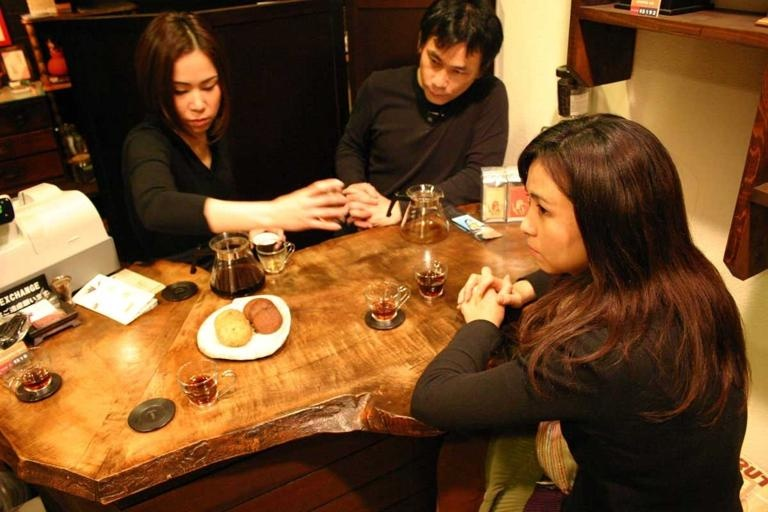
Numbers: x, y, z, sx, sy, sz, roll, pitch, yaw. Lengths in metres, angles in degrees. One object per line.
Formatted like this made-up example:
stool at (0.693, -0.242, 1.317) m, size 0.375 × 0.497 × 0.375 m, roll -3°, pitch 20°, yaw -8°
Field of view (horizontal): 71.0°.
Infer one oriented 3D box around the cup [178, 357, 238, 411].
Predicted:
cup at (-0.627, 0.446, 1.926) m, size 0.195 × 0.092 × 0.160 m, roll -15°, pitch 36°, yaw -20°

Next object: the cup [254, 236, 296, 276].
cup at (-0.484, -0.002, 2.465) m, size 0.182 × 0.132 × 0.142 m, roll 3°, pitch 29°, yaw -3°

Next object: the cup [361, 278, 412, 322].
cup at (0.016, 0.181, 2.212) m, size 0.125 × 0.119 × 0.188 m, roll 23°, pitch 35°, yaw 35°

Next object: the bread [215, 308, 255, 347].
bread at (-0.577, 0.291, 2.107) m, size 0.135 × 0.073 × 0.134 m, roll -31°, pitch 78°, yaw -33°

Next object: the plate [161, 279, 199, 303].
plate at (-0.890, 0.154, 2.366) m, size 0.097 × 0.013 × 0.098 m, roll 16°, pitch 28°, yaw 31°

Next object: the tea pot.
tea pot at (0.169, -0.202, 2.557) m, size 0.313 × 0.218 × 0.216 m, roll -5°, pitch 26°, yaw 1°

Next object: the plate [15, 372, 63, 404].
plate at (-1.265, 0.485, 1.980) m, size 0.156 × 0.039 × 0.112 m, roll -15°, pitch 36°, yaw -20°

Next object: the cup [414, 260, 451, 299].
cup at (0.202, 0.091, 2.286) m, size 0.130 × 0.112 × 0.146 m, roll 0°, pitch 30°, yaw 4°
